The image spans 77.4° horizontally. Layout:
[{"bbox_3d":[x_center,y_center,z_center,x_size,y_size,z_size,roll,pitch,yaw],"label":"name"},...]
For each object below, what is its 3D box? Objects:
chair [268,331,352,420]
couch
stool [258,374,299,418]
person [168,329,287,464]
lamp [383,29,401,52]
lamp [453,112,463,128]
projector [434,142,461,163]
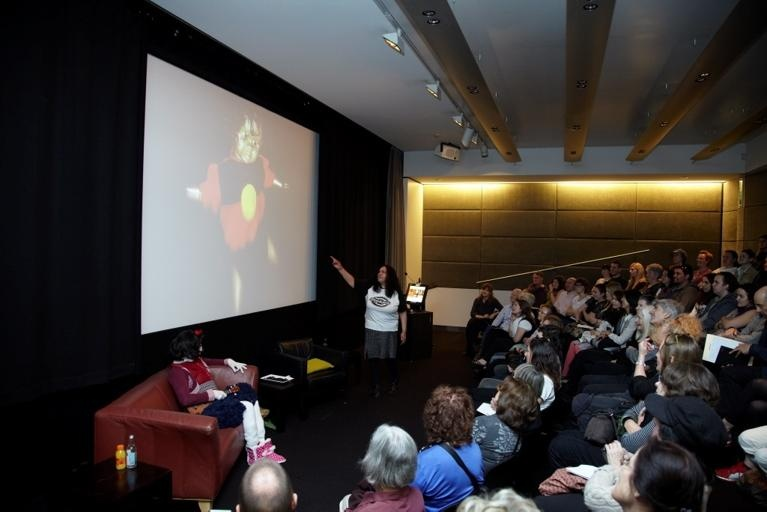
[{"bbox_3d":[-0.884,1.430,5.939,0.833,0.835,0.814,-2,-4,44],"label":"chair"},{"bbox_3d":[-1.828,1.267,4.284,0.860,0.760,1.544,3,0,3],"label":"couch"},{"bbox_3d":[-1.193,1.593,5.444,0.376,0.402,0.388,0,-6,-1],"label":"stool"},{"bbox_3d":[-1.557,1.413,4.844,1.011,1.413,0.855,-4,0,0],"label":"person"},{"bbox_3d":[0.095,-2.109,4.733,0.192,0.271,0.196,-1,1,-1],"label":"lamp"},{"bbox_3d":[1.106,-2.012,6.981,0.145,0.247,0.485,-1,1,10],"label":"lamp"},{"bbox_3d":[1.191,-1.945,8.768,0.271,0.336,0.665,0,1,40],"label":"projector"}]
